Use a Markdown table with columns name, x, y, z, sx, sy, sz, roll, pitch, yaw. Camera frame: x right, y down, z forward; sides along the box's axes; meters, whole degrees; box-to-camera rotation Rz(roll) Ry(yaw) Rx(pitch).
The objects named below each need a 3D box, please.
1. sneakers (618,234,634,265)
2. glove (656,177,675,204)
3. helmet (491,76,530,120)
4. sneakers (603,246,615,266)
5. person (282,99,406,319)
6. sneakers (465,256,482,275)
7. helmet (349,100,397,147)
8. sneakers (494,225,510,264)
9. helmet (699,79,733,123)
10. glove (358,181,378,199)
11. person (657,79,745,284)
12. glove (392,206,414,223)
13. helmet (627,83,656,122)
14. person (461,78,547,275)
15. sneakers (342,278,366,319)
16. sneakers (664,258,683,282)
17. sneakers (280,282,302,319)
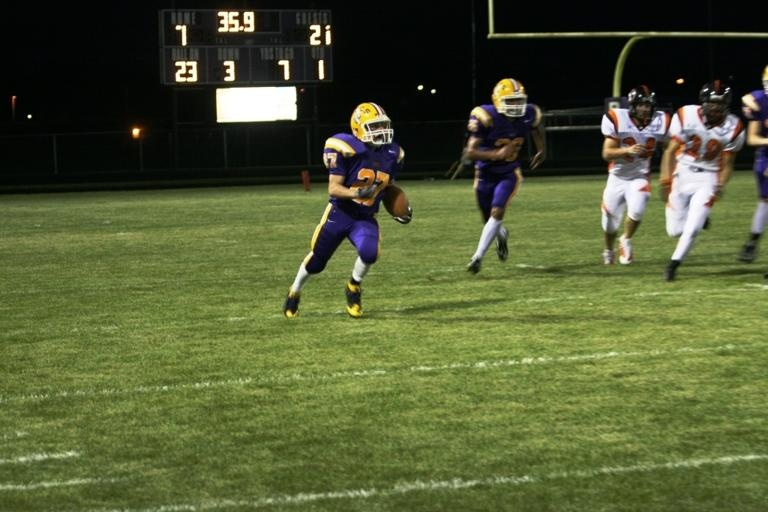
| name | x | y | z | sx | sy | sz | roll | pitch | yaw |
| --- | --- | --- | --- | --- | --- | --- | --- | --- | --- |
| sneakers | 2.427 | -0.058 | 8.752 | 0.135 | 0.333 | 0.176 | -5 | -2 | 14 |
| glove | 2.602 | -0.598 | 7.990 | 0.075 | 0.187 | 0.147 | 2 | 19 | 8 |
| helmet | 1.256 | -1.564 | 8.561 | 0.322 | 0.379 | 0.301 | 2 | 10 | 7 |
| sneakers | 2.284 | 0.003 | 8.759 | 0.188 | 0.191 | 0.509 | 1 | 6 | 14 |
| person | -0.310 | -0.380 | 6.986 | 0.899 | 1.703 | 0.809 | 0 | 10 | 1 |
| sneakers | 0.867 | 0.081 | 8.298 | 0.104 | 0.120 | 0.205 | 22 | 10 | 5 |
| helmet | -0.097 | -1.040 | 6.817 | 0.313 | 0.328 | 0.263 | 0 | 10 | -1 |
| sneakers | 1.227 | -0.121 | 8.912 | 0.147 | 0.393 | 0.210 | -2 | 1 | 19 |
| helmet | 3.028 | -1.397 | 7.889 | 0.246 | 0.398 | 0.324 | 4 | 10 | 18 |
| glove | -0.137 | -0.520 | 6.713 | 0.168 | 0.099 | 0.353 | 0 | 3 | -8 |
| person | 2.933 | -0.713 | 7.992 | 0.726 | 1.802 | 0.744 | 2 | 10 | 7 |
| glove | 0.126 | -0.327 | 7.025 | 0.202 | 0.084 | 0.155 | 8 | 16 | 36 |
| helmet | 2.583 | -1.517 | 8.558 | 0.369 | 0.340 | 0.455 | 0 | 6 | 5 |
| person | 1.177 | -0.815 | 8.661 | 0.749 | 1.921 | 1.364 | 3 | 10 | 13 |
| sneakers | -0.226 | 0.336 | 6.920 | 0.129 | 0.309 | 0.155 | -6 | 2 | -19 |
| sneakers | 2.626 | 0.116 | 7.872 | 0.129 | 0.205 | 0.167 | 2 | 10 | 10 |
| sneakers | -0.766 | 0.353 | 6.923 | 0.102 | 0.190 | 0.233 | 10 | 8 | 42 |
